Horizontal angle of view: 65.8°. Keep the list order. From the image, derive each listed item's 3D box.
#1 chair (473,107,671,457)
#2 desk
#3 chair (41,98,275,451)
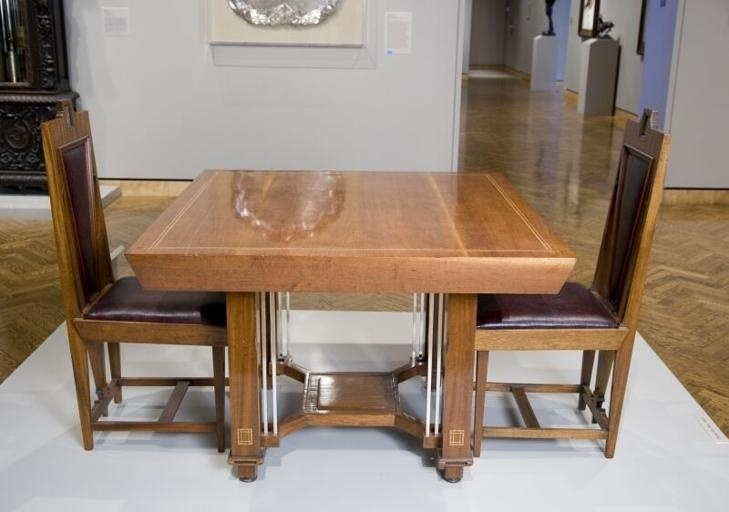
[{"bbox_3d":[0.820,0.122,2.565,0.906,1.362,0.900,-2,12,-11],"label":"chair"},{"bbox_3d":[-0.058,0.328,2.591,1.535,1.098,1.145,0,20,-2],"label":"desk"},{"bbox_3d":[-0.920,0.065,2.556,0.799,1.414,0.752,3,13,2],"label":"chair"}]
